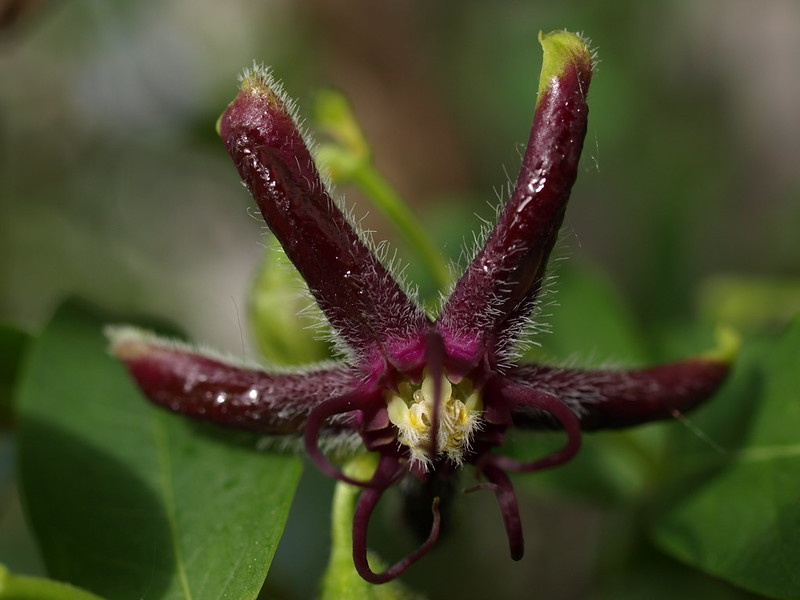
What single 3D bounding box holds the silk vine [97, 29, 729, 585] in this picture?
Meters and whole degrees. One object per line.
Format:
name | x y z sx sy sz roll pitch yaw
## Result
silk vine | 0.074 0.174 1.501 0.826 0.932 0.570 -24 37 33
